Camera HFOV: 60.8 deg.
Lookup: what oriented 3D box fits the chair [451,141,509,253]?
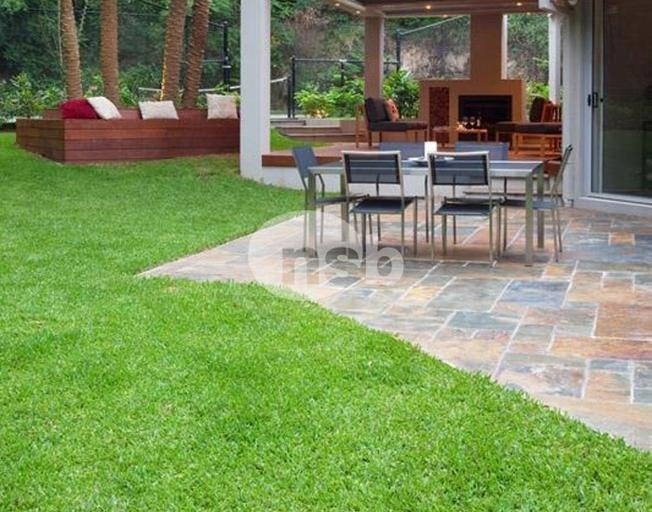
[{"bbox_3d":[1.527,-0.562,5.738,0.455,0.961,0.553,1,6,32],"label":"chair"}]

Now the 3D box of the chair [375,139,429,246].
[{"bbox_3d":[0.686,-0.647,6.276,0.633,1.027,0.698,3,23,37],"label":"chair"}]

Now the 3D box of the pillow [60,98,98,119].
[{"bbox_3d":[-5.181,-3.114,11.731,0.683,0.375,0.384,-6,16,-22],"label":"pillow"}]

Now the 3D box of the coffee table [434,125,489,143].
[{"bbox_3d":[3.373,-3.054,14.036,1.298,0.522,2.684,4,16,12],"label":"coffee table"}]

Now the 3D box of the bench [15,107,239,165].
[{"bbox_3d":[-4.247,-2.577,12.256,4.427,0.886,1.317,-5,16,-20],"label":"bench"}]

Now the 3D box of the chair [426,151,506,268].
[{"bbox_3d":[1.492,-0.547,5.841,0.768,1.207,0.876,-2,17,11],"label":"chair"}]

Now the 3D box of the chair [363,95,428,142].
[{"bbox_3d":[1.519,-3.082,12.549,1.201,1.220,1.385,1,10,12],"label":"chair"}]
